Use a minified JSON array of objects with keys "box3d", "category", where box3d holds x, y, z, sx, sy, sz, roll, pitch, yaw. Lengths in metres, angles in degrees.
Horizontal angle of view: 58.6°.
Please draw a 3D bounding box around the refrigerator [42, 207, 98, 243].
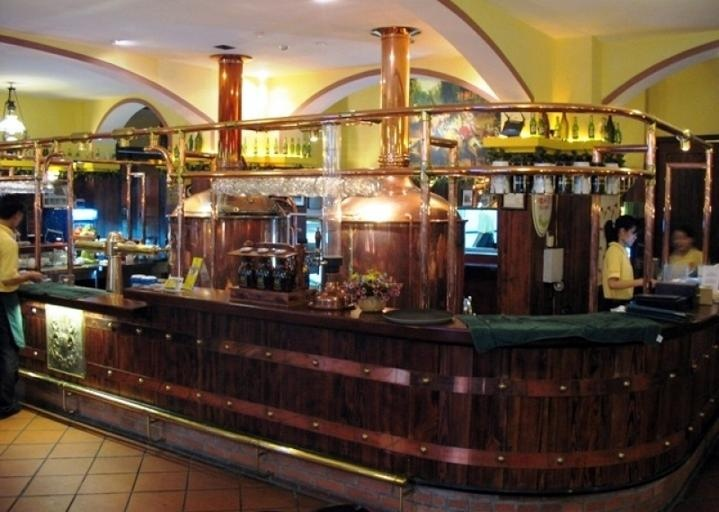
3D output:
[{"box3d":[-5.013,-0.547,10.850,0.572,0.672,1.030,-1,0,-7],"category":"refrigerator"}]
